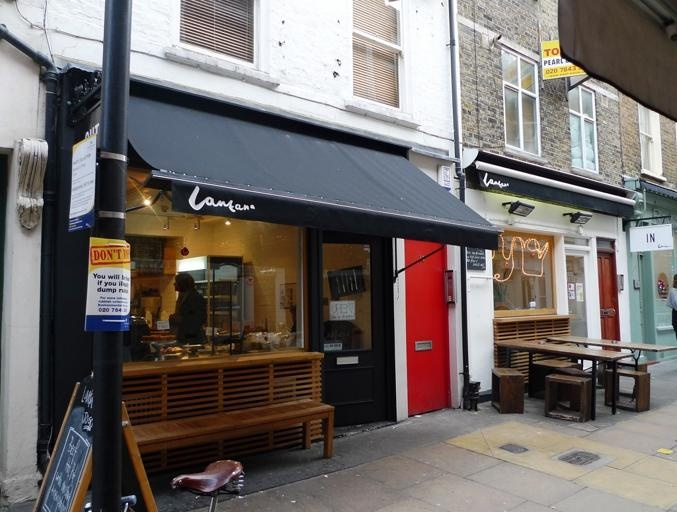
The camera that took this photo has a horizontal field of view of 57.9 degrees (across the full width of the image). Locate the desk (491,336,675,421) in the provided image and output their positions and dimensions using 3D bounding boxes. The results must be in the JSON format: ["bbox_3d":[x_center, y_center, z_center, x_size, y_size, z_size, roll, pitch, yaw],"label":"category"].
[{"bbox_3d":[4.231,1.680,10.637,1.587,0.853,1.994,-5,3,-33],"label":"desk"}]

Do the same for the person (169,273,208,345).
[{"bbox_3d":[-1.962,0.698,8.053,0.468,0.932,0.127,-1,4,-24],"label":"person"}]

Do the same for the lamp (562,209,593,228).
[{"bbox_3d":[5.165,-0.799,13.243,0.338,0.194,0.418,1,9,-26],"label":"lamp"}]

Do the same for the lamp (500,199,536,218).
[{"bbox_3d":[3.434,-0.905,11.816,0.587,0.279,0.343,-3,6,-45],"label":"lamp"}]

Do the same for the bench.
[{"bbox_3d":[-1.272,2.347,7.658,2.515,0.728,0.545,-2,5,-32],"label":"bench"}]
